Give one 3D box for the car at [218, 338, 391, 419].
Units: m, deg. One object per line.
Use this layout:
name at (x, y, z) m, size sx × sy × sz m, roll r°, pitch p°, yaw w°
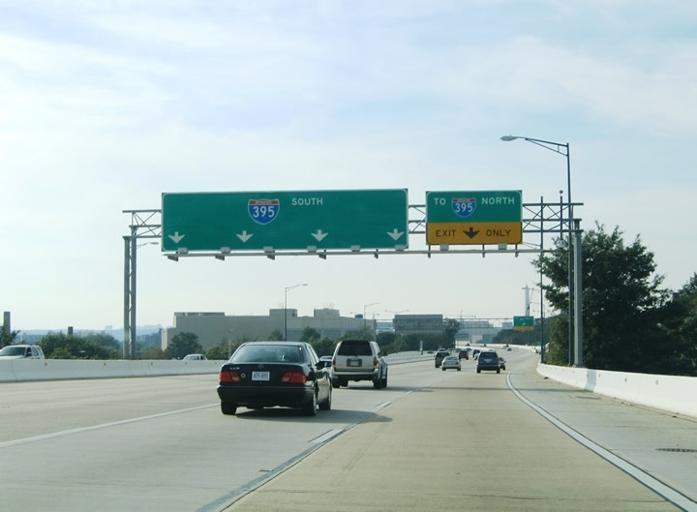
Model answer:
car at (-1.841, 3.299, 33.806) m, size 2.460 × 2.054 × 3.921 m, roll -2°, pitch -5°, yaw 5°
